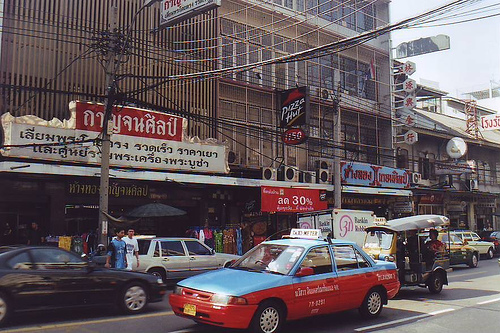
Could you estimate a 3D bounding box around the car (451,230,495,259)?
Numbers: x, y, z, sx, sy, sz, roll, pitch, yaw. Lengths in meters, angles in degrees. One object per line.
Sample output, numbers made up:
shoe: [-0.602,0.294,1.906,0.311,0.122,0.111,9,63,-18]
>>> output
car: [13.900,4.769,35.073,2.897,1.352,1.585,0,-3,-21]

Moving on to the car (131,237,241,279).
car: [-2.975,3.887,24.844,4.092,1.449,1.847,0,-3,-31]

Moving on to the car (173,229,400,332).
car: [1.075,3.629,18.958,6.232,2.494,3.100,4,-11,-31]

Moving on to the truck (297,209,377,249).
truck: [4.504,3.570,29.656,2.321,2.819,4.275,-4,-7,37]

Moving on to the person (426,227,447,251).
person: [8.000,3.080,24.760,0.759,1.094,2.958,-3,-10,18]
